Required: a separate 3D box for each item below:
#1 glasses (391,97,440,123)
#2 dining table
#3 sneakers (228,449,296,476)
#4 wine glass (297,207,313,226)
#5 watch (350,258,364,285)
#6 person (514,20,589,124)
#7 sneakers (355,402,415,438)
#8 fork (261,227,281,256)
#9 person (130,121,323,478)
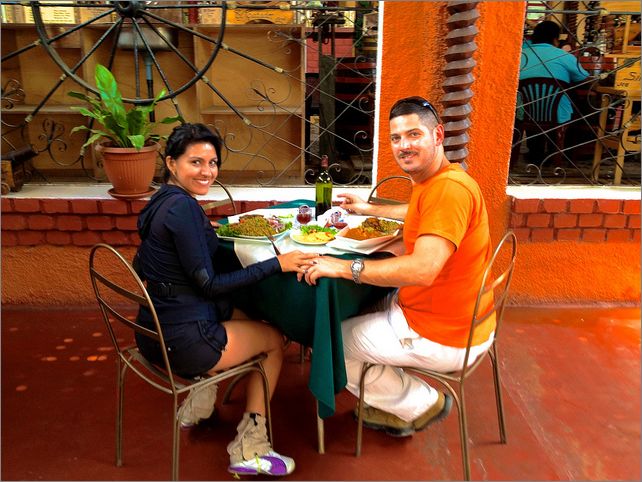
[{"bbox_3d":[0.359,-0.499,1.771,0.138,0.098,0.163,17,23,40],"label":"glasses"},{"bbox_3d":[0.043,0.312,2.206,0.881,0.621,0.864,18,30,36],"label":"dining table"},{"bbox_3d":[-0.230,0.875,1.909,0.289,0.117,0.098,2,-2,-14],"label":"sneakers"},{"bbox_3d":[-0.076,-0.116,2.160,0.080,0.078,0.075,5,-4,-39],"label":"wine glass"},{"bbox_3d":[0.130,0.102,1.695,0.053,0.073,0.075,1,45,14],"label":"watch"},{"bbox_3d":[2.031,-1.492,4.069,0.561,0.885,1.042,8,19,19],"label":"person"},{"bbox_3d":[0.289,0.815,2.177,0.303,0.121,0.104,7,18,26],"label":"sneakers"},{"bbox_3d":[-0.204,-0.003,1.905,0.029,0.027,0.237,-7,39,-15],"label":"fork"},{"bbox_3d":[-0.407,0.251,1.834,0.697,1.376,0.473,16,25,34],"label":"person"}]
